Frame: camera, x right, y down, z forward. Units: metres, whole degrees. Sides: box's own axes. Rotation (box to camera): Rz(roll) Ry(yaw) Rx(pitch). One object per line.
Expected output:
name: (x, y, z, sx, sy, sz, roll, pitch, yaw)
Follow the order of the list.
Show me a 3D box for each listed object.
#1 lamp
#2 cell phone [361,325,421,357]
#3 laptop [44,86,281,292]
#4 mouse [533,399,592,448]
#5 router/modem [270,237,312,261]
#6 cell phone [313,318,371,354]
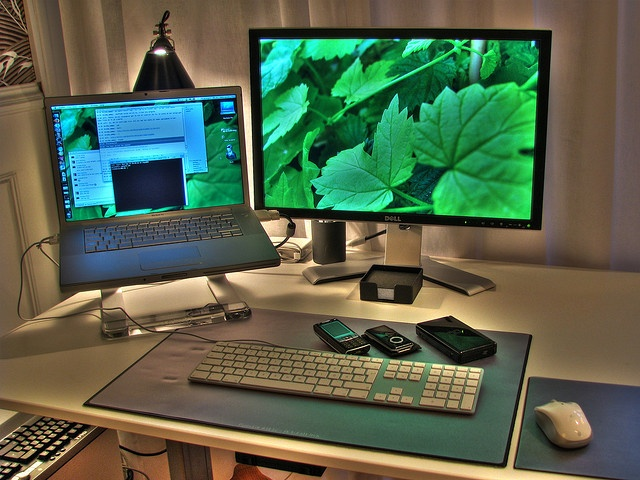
lamp: (-0.483, -0.546, 1.557, 0.197, 0.261, 0.201, 13, 35, -1)
cell phone: (0.155, 0.215, 1.108, 0.060, 0.018, 0.080, -15, 24, -28)
laptop: (-0.429, -0.182, 1.499, 0.550, 0.337, 0.403, -2, -14, 12)
mouse: (0.418, 0.306, 0.875, 0.071, 0.038, 0.122, -10, 10, 1)
router/modem: (-0.084, 0.028, 1.601, 0.088, 0.019, 0.085, 3, 20, 10)
cell phone: (0.048, 0.211, 1.113, 0.055, 0.030, 0.108, -16, 30, -37)
